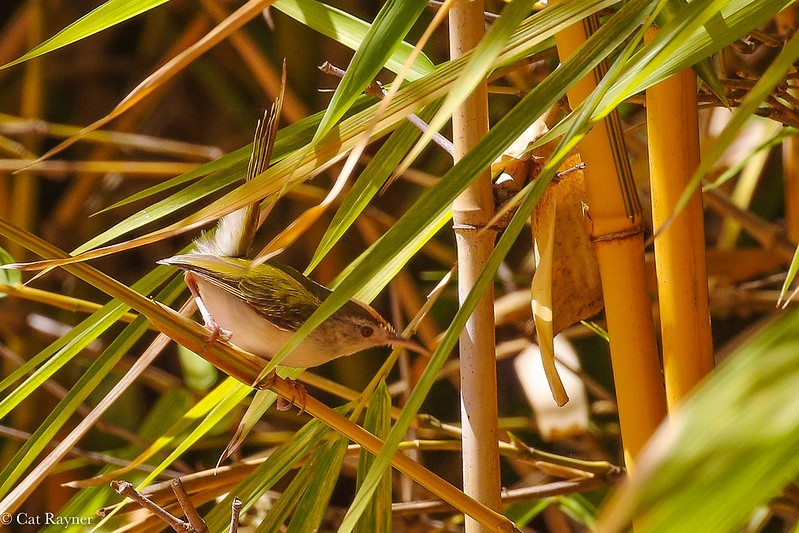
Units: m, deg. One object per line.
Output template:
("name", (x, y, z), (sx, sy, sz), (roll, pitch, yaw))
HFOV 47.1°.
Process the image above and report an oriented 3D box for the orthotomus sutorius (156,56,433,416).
("orthotomus sutorius", (-0.186, 0.035, 1.843), (0.520, 0.464, 0.178), (36, 8, 11))
